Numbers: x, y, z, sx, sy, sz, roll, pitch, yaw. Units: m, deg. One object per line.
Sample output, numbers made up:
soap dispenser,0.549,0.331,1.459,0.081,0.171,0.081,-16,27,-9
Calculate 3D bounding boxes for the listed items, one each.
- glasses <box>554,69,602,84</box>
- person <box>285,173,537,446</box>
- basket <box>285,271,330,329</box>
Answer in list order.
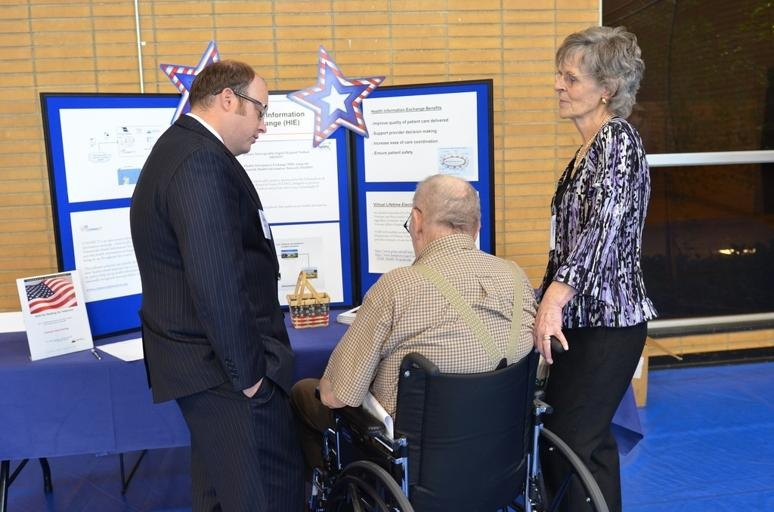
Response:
glasses,0.984,-0.950,3.917,0.148,0.069,0.112,-11,26,-30
person,0.242,0.130,4.098,0.931,1.777,1.206,-7,22,-24
basket,-0.511,0.276,4.836,0.307,0.367,0.247,-3,-2,-35
